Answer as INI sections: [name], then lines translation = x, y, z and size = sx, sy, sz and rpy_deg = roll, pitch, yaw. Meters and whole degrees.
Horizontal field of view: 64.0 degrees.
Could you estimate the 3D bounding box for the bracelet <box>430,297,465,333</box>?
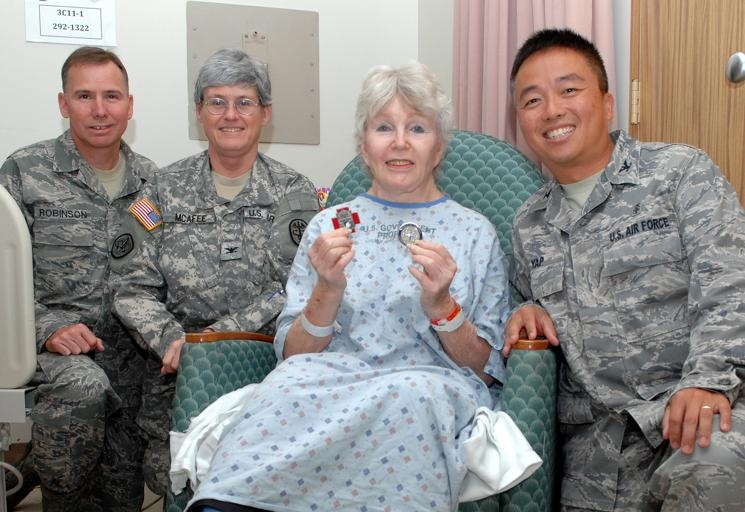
[bracelet]
translation = 0.249, 0.208, 2.050
size = 0.107, 0.106, 0.105
rpy_deg = -11, -2, -38
